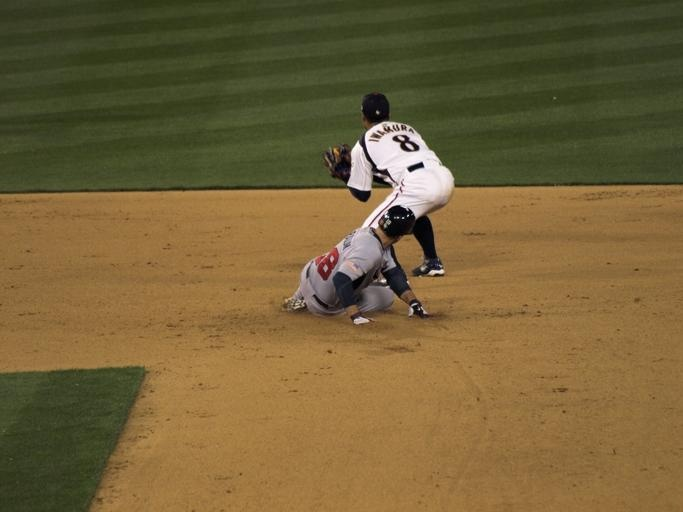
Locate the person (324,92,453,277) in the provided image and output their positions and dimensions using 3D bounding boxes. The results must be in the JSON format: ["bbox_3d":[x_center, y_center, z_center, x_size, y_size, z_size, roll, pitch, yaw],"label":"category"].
[{"bbox_3d":[0.542,-0.753,13.880,1.026,2.062,1.516,-37,46,-22],"label":"person"}]

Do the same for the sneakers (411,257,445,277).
[{"bbox_3d":[0.997,0.135,13.486,0.407,0.220,0.161,3,5,18],"label":"sneakers"}]

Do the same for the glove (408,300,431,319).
[{"bbox_3d":[0.791,0.557,12.477,0.153,0.114,0.215,17,5,-11],"label":"glove"}]

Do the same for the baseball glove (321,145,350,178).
[{"bbox_3d":[-0.013,-1.098,13.504,0.379,0.325,0.519,-9,6,-12],"label":"baseball glove"}]

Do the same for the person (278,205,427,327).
[{"bbox_3d":[0.127,0.073,12.629,1.638,1.383,1.190,12,17,26],"label":"person"}]

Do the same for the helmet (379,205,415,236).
[{"bbox_3d":[0.592,-0.395,12.373,0.375,0.301,0.281,-6,55,-18],"label":"helmet"}]
